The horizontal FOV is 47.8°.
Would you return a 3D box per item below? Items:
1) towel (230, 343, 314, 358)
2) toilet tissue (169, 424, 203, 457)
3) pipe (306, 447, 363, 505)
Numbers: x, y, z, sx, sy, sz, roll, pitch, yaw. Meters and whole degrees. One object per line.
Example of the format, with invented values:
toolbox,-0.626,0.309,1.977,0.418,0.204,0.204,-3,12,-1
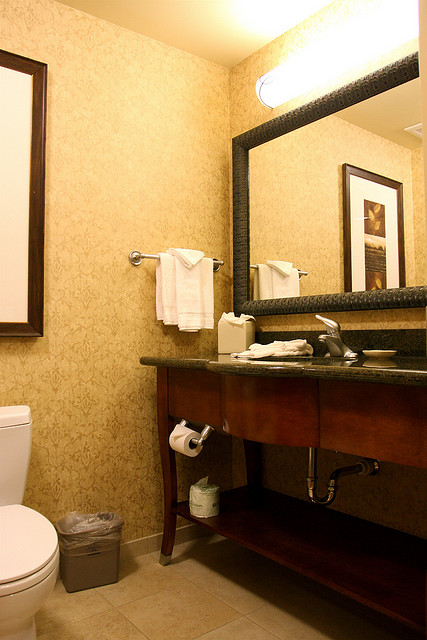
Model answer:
towel,0.224,0.106,1.660,0.120,0.043,0.397,-6,-6,44
toilet tissue,-0.083,0.419,1.759,0.104,0.098,0.121,-21,-2,-19
pipe,0.346,0.455,1.393,0.151,0.191,0.151,-1,-4,5
